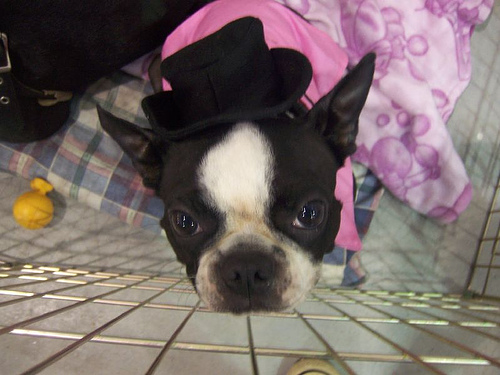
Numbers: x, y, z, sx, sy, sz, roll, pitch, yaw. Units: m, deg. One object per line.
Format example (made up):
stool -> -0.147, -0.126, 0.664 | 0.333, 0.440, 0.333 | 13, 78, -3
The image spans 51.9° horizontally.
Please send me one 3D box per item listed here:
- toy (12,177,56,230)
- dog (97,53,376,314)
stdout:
toy -> -1.375, 0.101, 3.297 | 0.245, 0.364, 0.253 | 1, 29, -21
dog -> 0.053, -0.259, 2.882 | 1.209, 0.961, 1.788 | 0, 35, 11
